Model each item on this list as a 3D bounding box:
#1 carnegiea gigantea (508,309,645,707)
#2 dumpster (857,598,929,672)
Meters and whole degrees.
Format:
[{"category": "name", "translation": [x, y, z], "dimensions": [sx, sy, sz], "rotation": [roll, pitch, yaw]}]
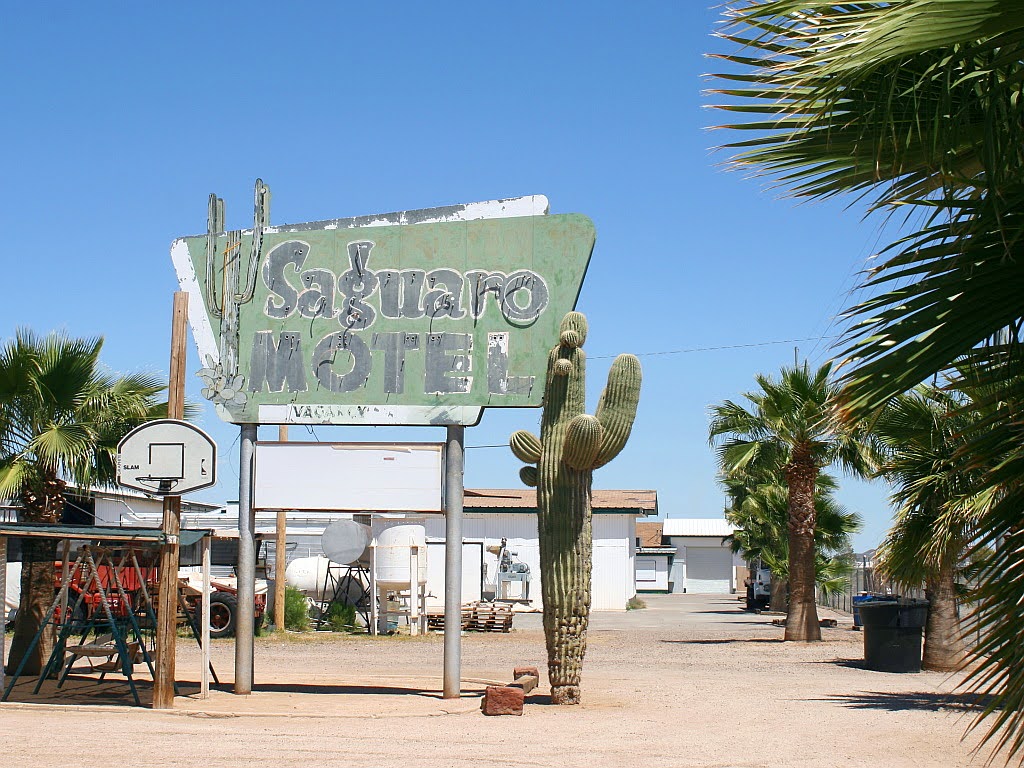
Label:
[{"category": "carnegiea gigantea", "translation": [0.688, 1.453, 15.870], "dimensions": [0.790, 4.568, 1.475], "rotation": [8, -11, -41]}, {"category": "dumpster", "translation": [5.737, 3.852, 20.620], "dimensions": [0.943, 0.953, 0.982], "rotation": [2, -14, -2]}]
